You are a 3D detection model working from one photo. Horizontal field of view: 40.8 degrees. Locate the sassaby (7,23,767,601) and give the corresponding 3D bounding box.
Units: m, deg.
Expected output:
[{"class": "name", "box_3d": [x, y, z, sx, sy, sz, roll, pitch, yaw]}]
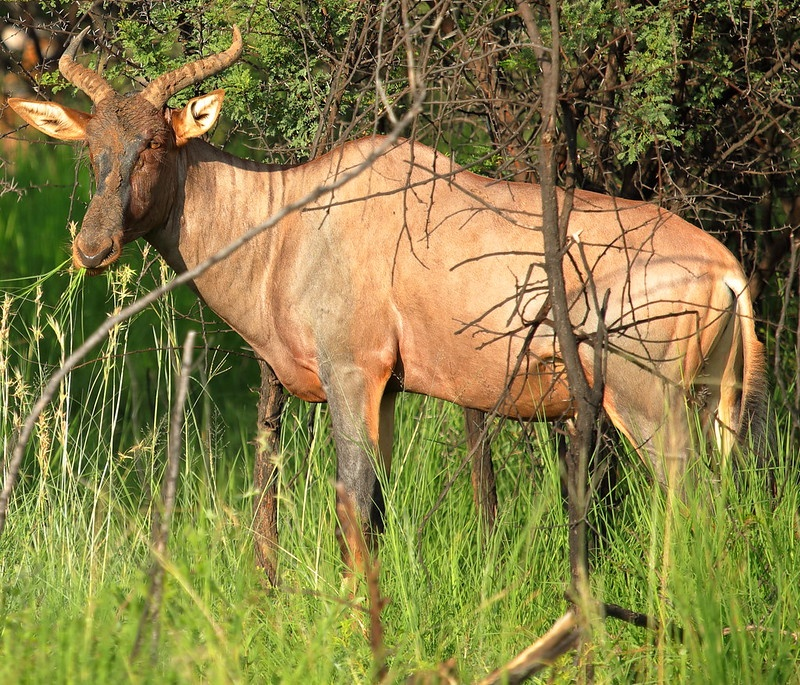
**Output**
[{"class": "sassaby", "box_3d": [-0.043, 0.043, 4.574, 2.970, 2.700, 0.926, 3, 3, 10]}]
